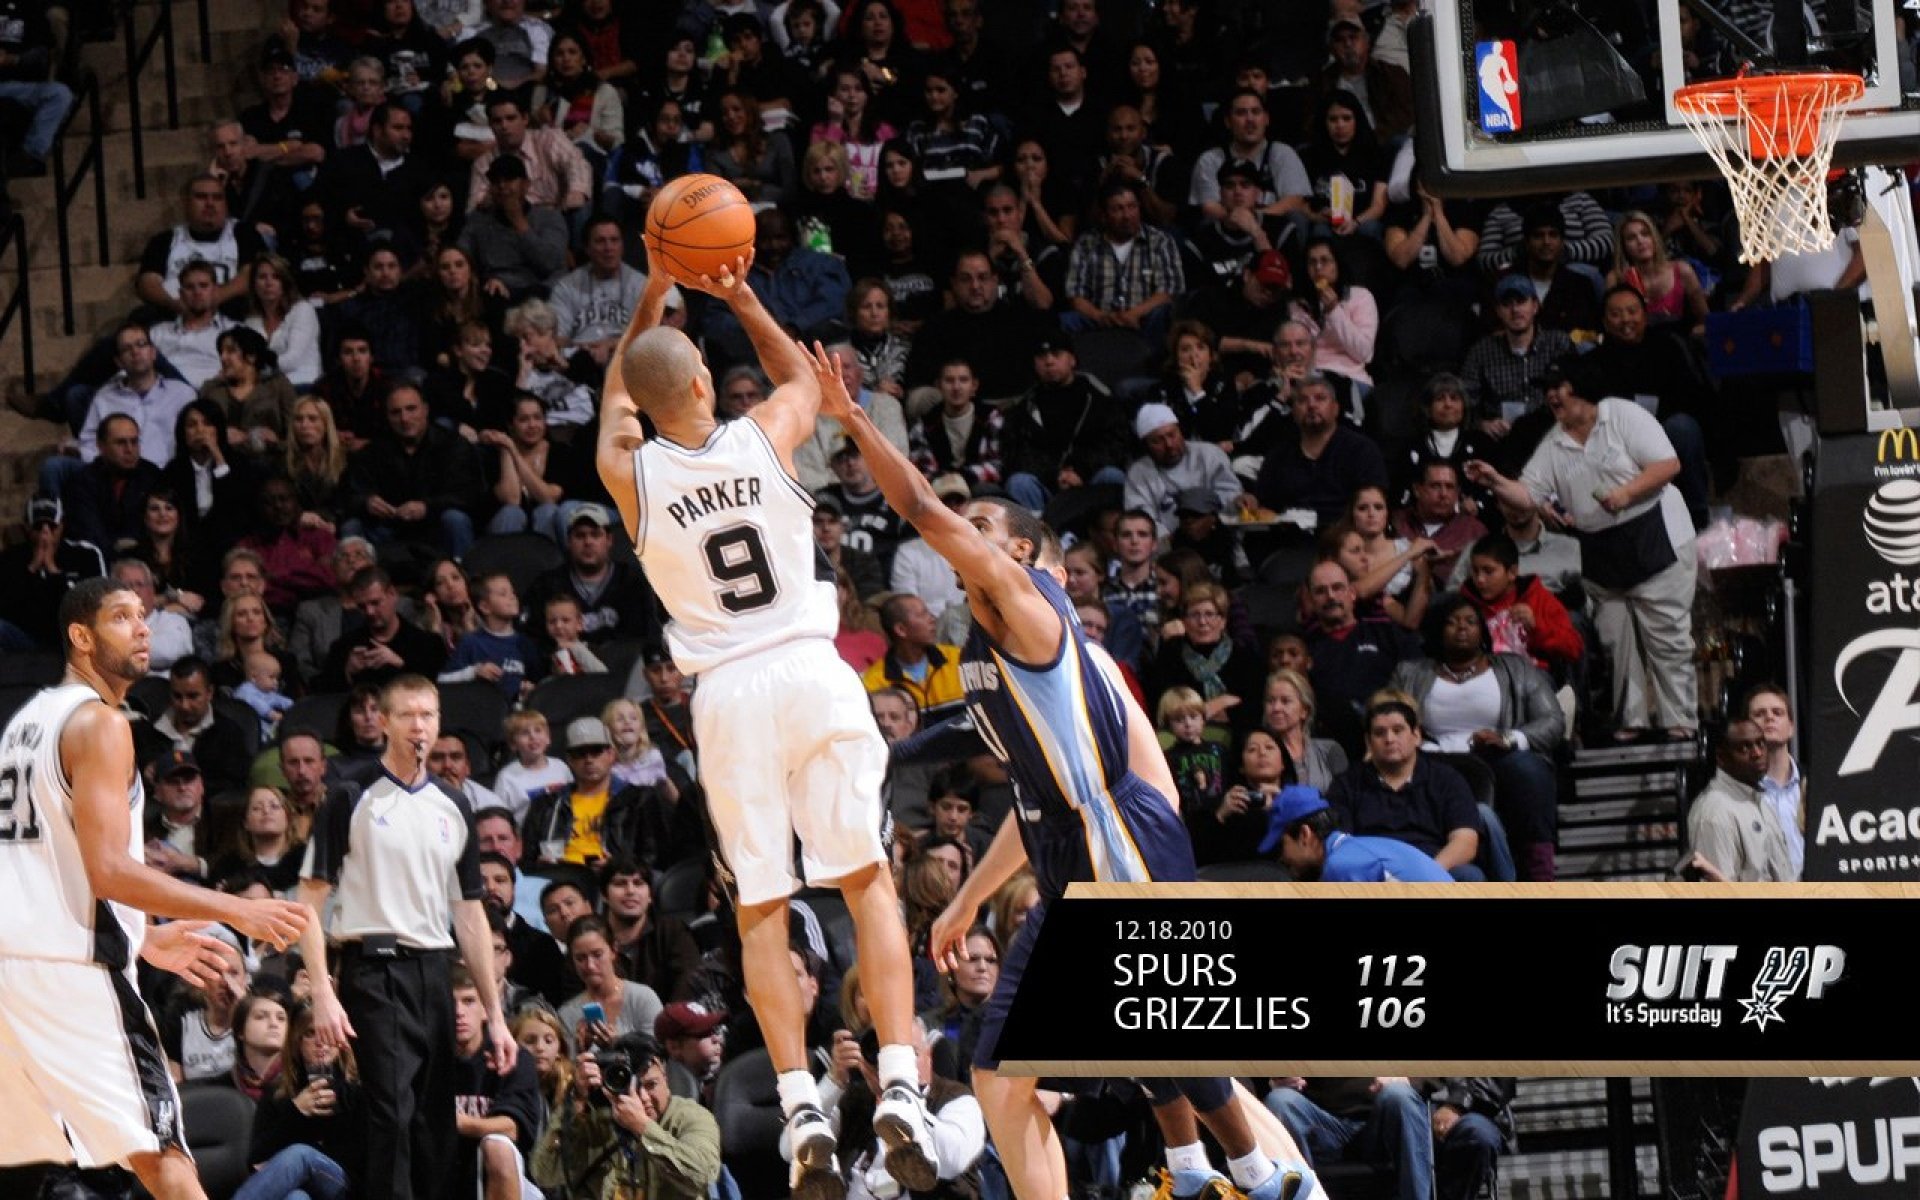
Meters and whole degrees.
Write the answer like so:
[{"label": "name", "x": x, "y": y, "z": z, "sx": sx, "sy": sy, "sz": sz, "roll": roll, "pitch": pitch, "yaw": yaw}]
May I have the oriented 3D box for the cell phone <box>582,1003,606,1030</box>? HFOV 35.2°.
[{"label": "cell phone", "x": -2.390, "y": 2.701, "z": 19.665, "sx": 0.110, "sy": 0.107, "sz": 0.111, "roll": -11, "pitch": -7, "yaw": 6}]
